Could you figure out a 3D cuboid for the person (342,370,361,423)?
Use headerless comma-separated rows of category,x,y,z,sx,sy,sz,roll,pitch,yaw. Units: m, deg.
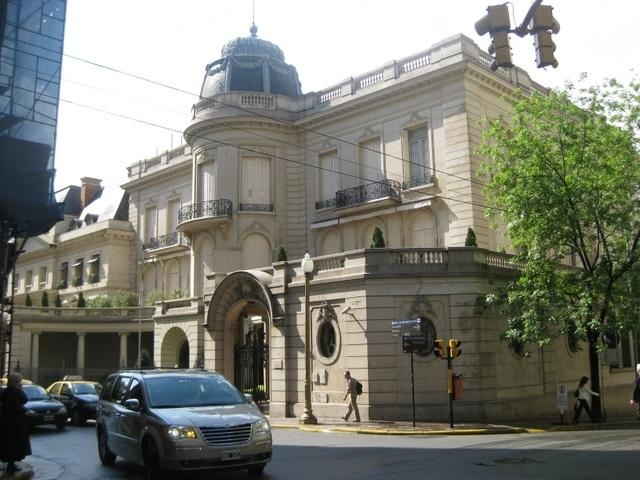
person,1.218,5.995,28.986,0.672,1.997,1.440,-2,-13,0

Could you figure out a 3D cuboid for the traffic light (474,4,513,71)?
traffic light,4.237,-4.958,18.184,0.746,1.390,1.272,-5,-14,14

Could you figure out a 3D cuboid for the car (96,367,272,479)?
car,-3.669,4.650,19.439,4.801,2.800,2.236,-13,-17,38

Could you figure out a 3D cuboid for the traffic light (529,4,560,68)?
traffic light,5.365,-4.887,18.048,0.557,1.329,0.598,-6,-13,15
